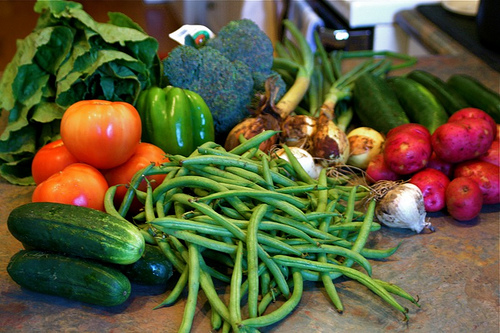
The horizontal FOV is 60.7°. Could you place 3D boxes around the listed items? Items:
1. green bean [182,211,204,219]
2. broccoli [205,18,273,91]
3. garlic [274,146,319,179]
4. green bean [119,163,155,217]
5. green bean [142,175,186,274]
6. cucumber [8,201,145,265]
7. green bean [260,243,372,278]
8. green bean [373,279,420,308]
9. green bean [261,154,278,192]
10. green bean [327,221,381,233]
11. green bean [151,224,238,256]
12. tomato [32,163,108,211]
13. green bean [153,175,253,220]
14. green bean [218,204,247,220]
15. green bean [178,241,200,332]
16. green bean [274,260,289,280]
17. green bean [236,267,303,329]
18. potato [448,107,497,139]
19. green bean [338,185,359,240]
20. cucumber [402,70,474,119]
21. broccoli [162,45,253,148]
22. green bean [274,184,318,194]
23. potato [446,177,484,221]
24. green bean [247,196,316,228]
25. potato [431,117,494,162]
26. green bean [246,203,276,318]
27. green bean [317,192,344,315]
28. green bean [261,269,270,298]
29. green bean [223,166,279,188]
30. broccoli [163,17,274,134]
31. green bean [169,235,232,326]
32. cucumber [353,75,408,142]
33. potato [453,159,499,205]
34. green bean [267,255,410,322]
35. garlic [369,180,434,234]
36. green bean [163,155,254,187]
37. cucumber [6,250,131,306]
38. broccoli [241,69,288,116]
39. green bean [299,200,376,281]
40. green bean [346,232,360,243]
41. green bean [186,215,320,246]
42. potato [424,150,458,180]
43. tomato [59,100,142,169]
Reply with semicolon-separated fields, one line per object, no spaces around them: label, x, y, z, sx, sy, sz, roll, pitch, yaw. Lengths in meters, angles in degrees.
green bean;-0.180;0.148;1.301;0.082;0.021;0.019;6;-31;-46
broccoli;-0.004;-0.517;1.907;0.266;0.330;0.101;-22;6;43
garlic;0.191;-0.018;1.691;0.127;0.147;0.129;-21;5;-16
green bean;-0.383;0.077;1.435;0.029;0.033;0.223;-8;44;57
green bean;-0.263;0.185;1.299;0.051;0.040;0.345;-24;69;-36
cucumber;-0.506;0.189;1.306;0.456;0.155;0.150;8;-15;11
green bean;0.180;0.276;1.249;0.285;0.039;0.057;11;10;1
green bean;0.424;0.369;1.233;0.175;0.028;0.030;17;9;26
green bean;0.054;0.017;1.372;0.025;0.141;0.023;-33;-23;28
green bean;0.323;0.190;1.344;0.154;0.041;0.034;2;-11;3
green bean;-0.159;0.212;1.245;0.247;0.026;0.034;16;7;-1
tomato;-0.582;0.070;1.471;0.179;0.175;0.180;-44;7;1
green bean;-0.159;0.084;1.379;0.356;0.170;0.064;-10;33;7
green bean;-0.050;0.141;1.327;0.095;0.029;0.031;28;21;3
green bean;-0.165;0.340;1.184;0.054;0.198;0.024;13;-15;-21
green bean;0.100;0.305;1.268;0.023;0.068;0.019;-42;32;-28
green bean;0.080;0.377;1.181;0.108;0.170;0.029;26;23;-24
potato;0.831;-0.156;1.594;0.149;0.080;0.115;2;-3;15
green bean;0.324;0.147;1.383;0.030;0.039;0.209;3;44;34
cucumber;0.821;-0.335;1.898;0.107;0.128;0.376;-5;42;-32
broccoli;-0.222;-0.295;1.895;0.311;0.346;0.332;8;5;-21
green bean;0.143;0.071;1.365;0.118;0.015;0.019;-5;-9;-6
potato;0.767;0.113;1.516;0.127;0.158;0.140;-1;58;20
green bean;0.086;0.139;1.285;0.213;0.032;0.030;17;33;19
potato;0.736;-0.094;1.547;0.198;0.120;0.133;-11;-22;-8
green bean;0.023;0.254;1.186;0.031;0.279;0.044;16;-22;-38
green bean;0.252;0.265;1.279;0.051;0.339;0.038;29;-34;-23
green bean;0.045;0.334;1.232;0.022;0.070;0.020;7;-4;29
green bean;-0.005;0.033;1.366;0.106;0.025;0.017;25;44;7
broccoli;-0.118;-0.442;1.949;0.517;0.167;0.600;2;-20;-34
green bean;-0.187;0.294;1.202;0.045;0.043;0.393;-23;33;-5
cucumber;0.557;-0.269;1.910;0.134;0.127;0.364;-14;38;-23
potato;0.815;0.063;1.530;0.169;0.088;0.127;20;-3;-29
green bean;0.259;0.334;1.239;0.457;0.067;0.100;22;57;-1
garlic;0.531;0.176;1.532;0.199;0.157;0.197;24;25;-50
green bean;-0.127;0.016;1.366;0.259;0.037;0.026;14;30;6
cucumber;-0.509;0.321;1.277;0.427;0.129;0.133;9;-11;11
broccoli;0.053;-0.340;1.781;0.234;0.084;0.179;-39;-11;1
green bean;0.319;0.214;1.369;0.399;0.113;0.107;-28;32;-30
green bean;0.327;0.225;1.357;0.041;0.011;0.025;-21;24;-23
green bean;-0.022;0.195;1.310;0.554;0.058;0.084;1;14;24
potato;0.714;0.002;1.602;0.081;0.083;0.094;-32;38;33
tomato;-0.546;-0.117;1.550;0.286;0.239;0.290;-1;7;-11
